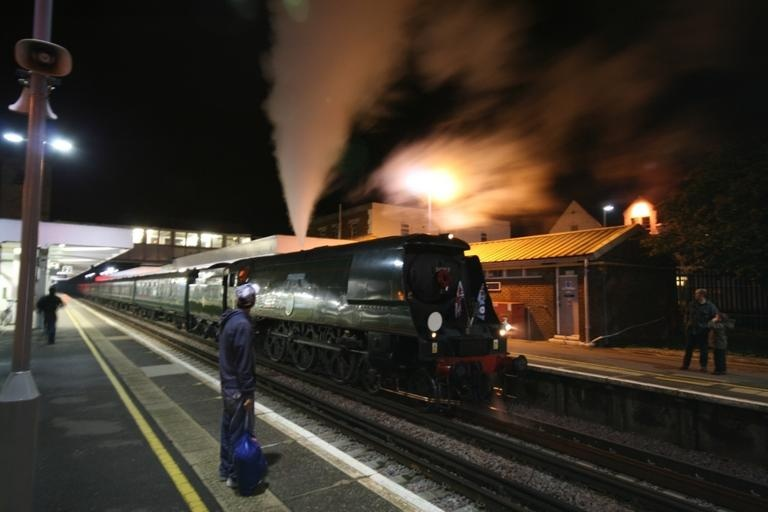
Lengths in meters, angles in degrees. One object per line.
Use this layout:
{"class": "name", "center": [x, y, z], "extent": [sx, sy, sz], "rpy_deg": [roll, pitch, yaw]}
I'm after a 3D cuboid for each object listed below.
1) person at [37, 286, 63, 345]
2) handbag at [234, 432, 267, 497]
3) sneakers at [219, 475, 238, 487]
{"class": "person", "center": [-12.371, 2.476, 19.085], "extent": [1.057, 0.779, 2.465], "rpy_deg": [-8, 30, -31]}
{"class": "handbag", "center": [-2.281, 3.517, 8.755], "extent": [0.538, 1.042, 0.308], "rpy_deg": [-1, -3, -14]}
{"class": "sneakers", "center": [-2.697, 3.905, 8.918], "extent": [0.135, 0.160, 0.393], "rpy_deg": [14, -19, -39]}
